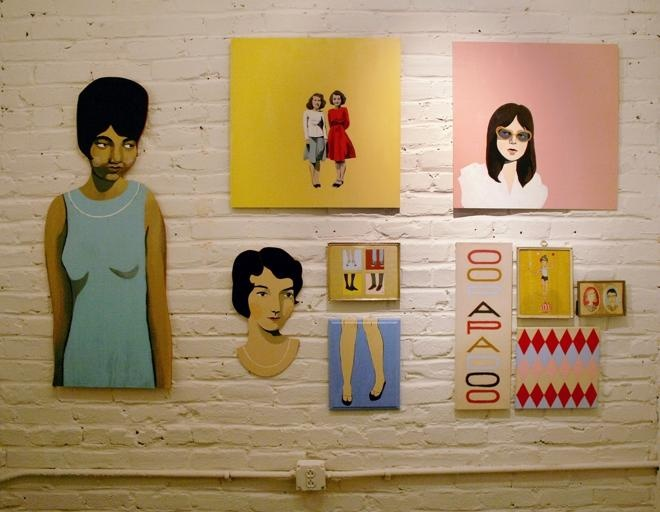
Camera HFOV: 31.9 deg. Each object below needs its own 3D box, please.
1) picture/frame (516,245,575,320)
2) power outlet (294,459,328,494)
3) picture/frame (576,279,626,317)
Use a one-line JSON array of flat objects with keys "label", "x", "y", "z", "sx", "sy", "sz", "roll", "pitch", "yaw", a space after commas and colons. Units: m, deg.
[{"label": "picture/frame", "x": 0.924, "y": 0.112, "z": 4.957, "sx": 0.275, "sy": 0.391, "sz": 0.029, "roll": 0, "pitch": 1, "yaw": 1}, {"label": "power outlet", "x": -0.088, "y": 0.935, "z": 4.964, "sx": 0.179, "sy": 0.175, "sz": 0.104, "roll": 0, "pitch": -5, "yaw": -3}, {"label": "picture/frame", "x": 1.168, "y": 0.182, "z": 4.962, "sx": 0.145, "sy": 0.120, "sz": 0.022, "roll": 0, "pitch": -2, "yaw": -1}]
